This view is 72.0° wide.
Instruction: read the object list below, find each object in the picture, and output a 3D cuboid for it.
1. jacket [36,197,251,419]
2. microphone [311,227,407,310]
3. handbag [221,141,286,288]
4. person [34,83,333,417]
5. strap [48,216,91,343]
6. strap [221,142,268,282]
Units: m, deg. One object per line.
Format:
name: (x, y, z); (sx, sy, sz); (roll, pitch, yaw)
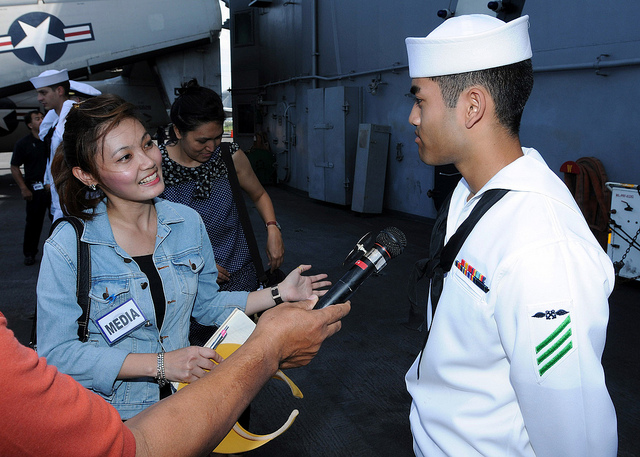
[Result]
jacket: (-0.707, 0.326, 1.957); (0.946, 0.795, 0.464); (-5, 9, -40)
microphone: (0.147, 0.175, 1.650); (0.441, 0.114, 0.113); (-43, 50, -9)
handbag: (-0.487, -0.052, 2.872); (0.399, 1.085, 0.342); (-6, 17, -39)
person: (-0.702, 0.259, 2.028); (1.124, 1.591, 0.885); (-12, 18, -39)
strap: (-1.022, 0.192, 1.717); (0.192, 0.475, 0.194); (-6, 14, -32)
strap: (-0.500, -0.093, 2.851); (0.255, 0.860, 0.299); (19, 18, 39)
